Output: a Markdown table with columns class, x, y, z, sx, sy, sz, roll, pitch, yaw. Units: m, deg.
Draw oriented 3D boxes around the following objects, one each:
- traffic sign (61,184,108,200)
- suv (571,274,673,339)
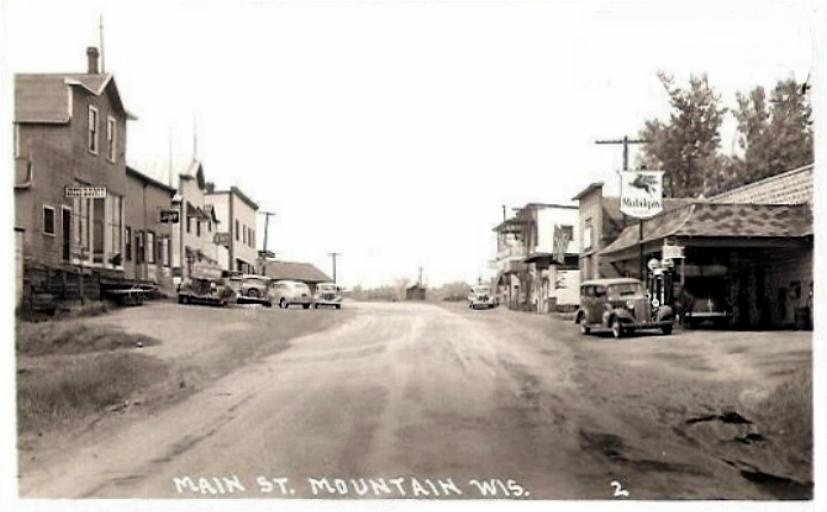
| class | x | y | z | sx | sy | sz | roll | pitch | yaw |
| --- | --- | --- | --- | --- | --- | --- | --- | --- | --- |
| traffic sign | -8.392 | -1.639 | 20.128 | 0.950 | 0.387 | 0.428 | 0 | 5 | -26 |
| suv | 5.510 | 1.352 | 20.965 | 2.352 | 1.494 | 0.752 | 3 | 5 | 12 |
